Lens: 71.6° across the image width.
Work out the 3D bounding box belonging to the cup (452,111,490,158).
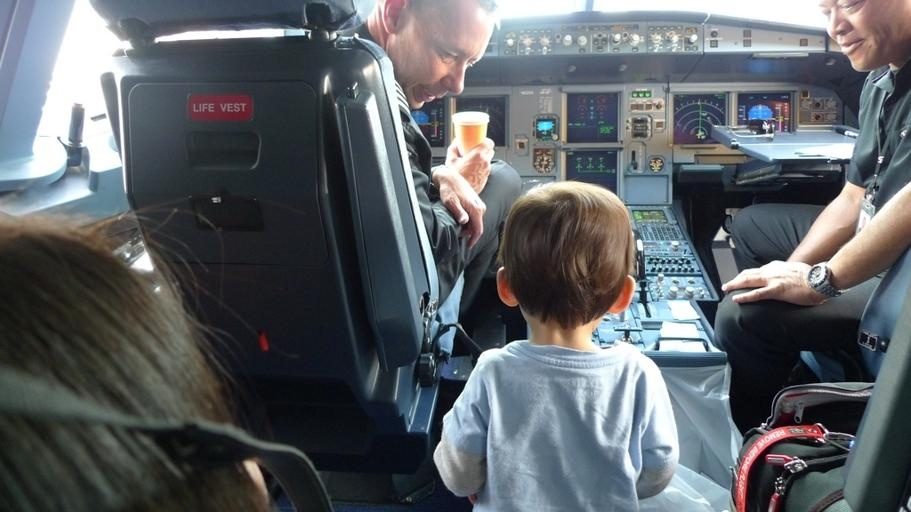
[{"bbox_3d":[0.063,-0.470,2.421,0.165,0.166,0.162,1,28,-1],"label":"cup"}]
